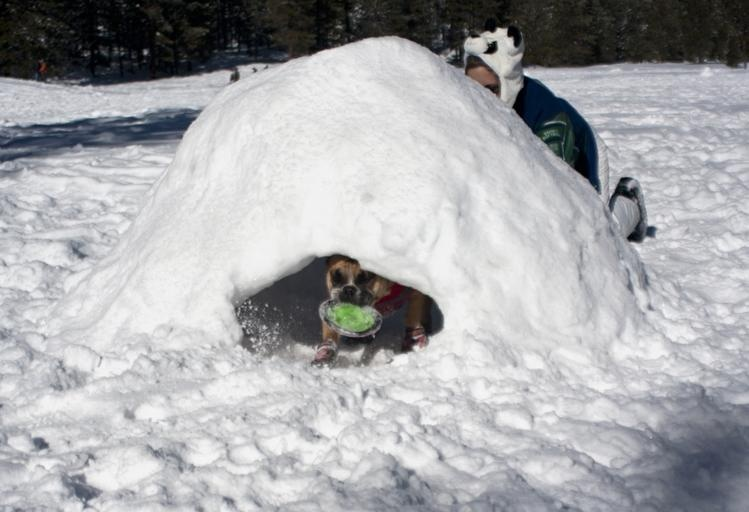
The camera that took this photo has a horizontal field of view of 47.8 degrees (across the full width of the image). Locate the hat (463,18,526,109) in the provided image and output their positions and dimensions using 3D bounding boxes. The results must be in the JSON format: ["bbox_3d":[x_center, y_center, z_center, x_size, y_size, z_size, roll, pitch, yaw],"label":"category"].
[{"bbox_3d":[1.018,-1.619,7.305,0.531,0.712,0.534,5,20,9],"label":"hat"}]
